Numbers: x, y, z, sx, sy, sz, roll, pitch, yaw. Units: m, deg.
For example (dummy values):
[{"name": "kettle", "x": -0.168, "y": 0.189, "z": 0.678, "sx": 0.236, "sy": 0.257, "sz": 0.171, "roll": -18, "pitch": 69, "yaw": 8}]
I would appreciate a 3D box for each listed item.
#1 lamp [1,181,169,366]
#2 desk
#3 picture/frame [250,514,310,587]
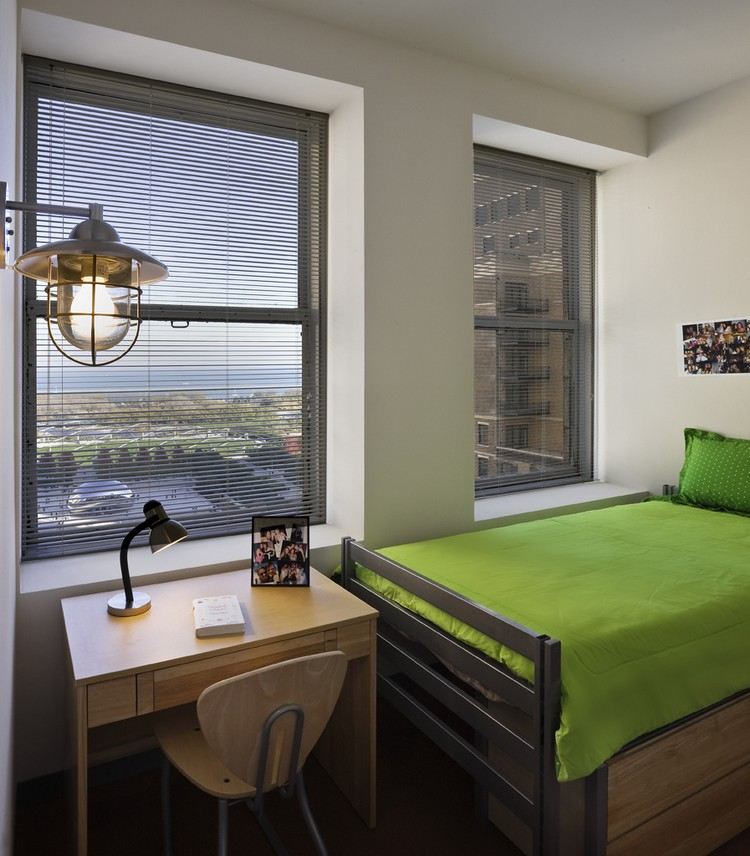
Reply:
[{"name": "lamp", "x": -0.691, "y": -0.349, "z": 1.756, "sx": 0.326, "sy": 0.386, "sz": 0.753, "roll": -3, "pitch": 7, "yaw": -16}, {"name": "desk", "x": -0.464, "y": 0.501, "z": 2.009, "sx": 0.932, "sy": 0.706, "sz": 0.658, "roll": -1, "pitch": 0, "yaw": -29}, {"name": "picture/frame", "x": -0.302, "y": 0.394, "z": 2.238, "sx": 0.235, "sy": 0.273, "sz": 0.010, "roll": 0, "pitch": -3, "yaw": -7}]
